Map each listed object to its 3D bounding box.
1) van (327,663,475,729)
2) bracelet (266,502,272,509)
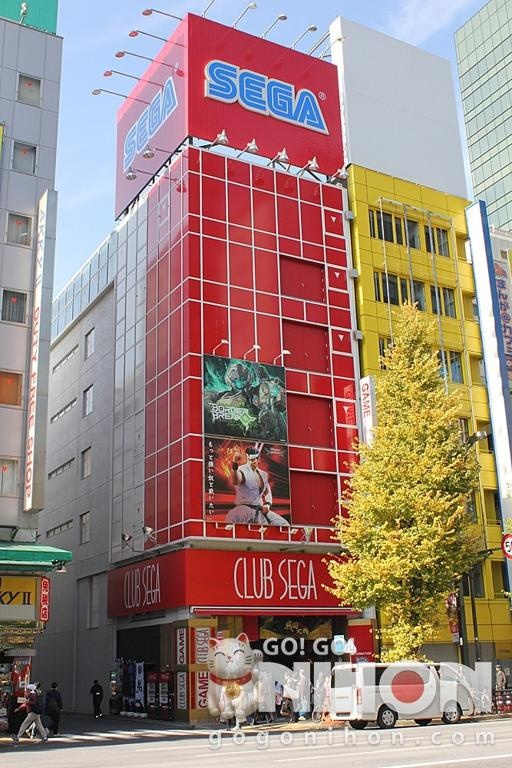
[{"bbox_3d":[3.528,7.504,17.078,3.018,1.382,1.833,2,-20,-19],"label":"van"},{"bbox_3d":[0.466,4.681,26.715,0.126,0.157,0.212,-2,-43,-2],"label":"bracelet"}]
